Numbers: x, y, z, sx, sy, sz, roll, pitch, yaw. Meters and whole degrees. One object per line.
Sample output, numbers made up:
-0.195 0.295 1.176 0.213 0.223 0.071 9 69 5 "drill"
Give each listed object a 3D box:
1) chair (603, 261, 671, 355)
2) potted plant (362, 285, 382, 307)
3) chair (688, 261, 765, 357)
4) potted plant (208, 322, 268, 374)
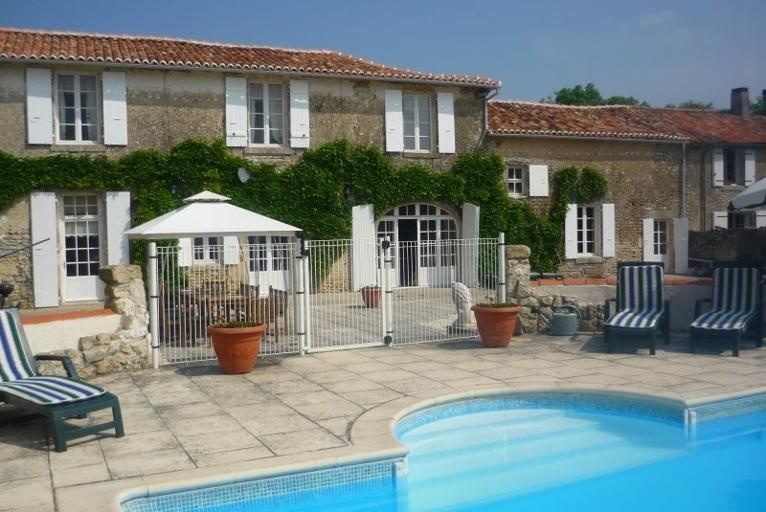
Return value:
5.871 1.198 18.771 1.450 1.941 1.832 -1 3 17 "chair"
-0.340 1.135 22.347 0.752 0.469 0.691 0 -2 3 "potted plant"
7.992 1.113 18.583 1.633 1.821 2.366 2 4 44 "chair"
-2.993 1.961 17.010 1.167 0.751 1.168 1 2 38 "potted plant"
